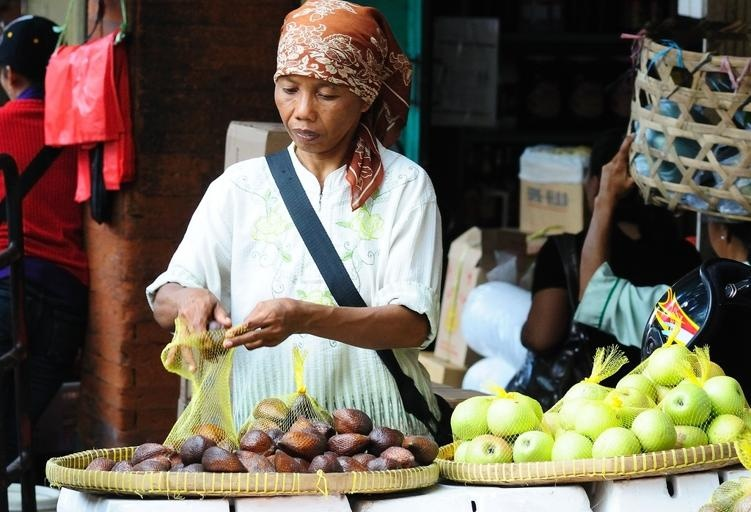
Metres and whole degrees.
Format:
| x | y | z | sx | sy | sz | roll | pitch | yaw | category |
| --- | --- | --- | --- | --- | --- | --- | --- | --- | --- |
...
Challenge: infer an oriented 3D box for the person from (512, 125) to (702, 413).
| x | y | z | sx | sy | sz | roll | pitch | yaw | category |
| --- | --- | --- | --- | --- | --- | --- | --- | --- | --- |
| 1.021 | -0.093 | 4.870 | 1.022 | 1.537 | 0.811 | -6 | 18 | -19 | person |

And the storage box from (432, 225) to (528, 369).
| x | y | z | sx | sy | sz | roll | pitch | yaw | category |
| --- | --- | --- | --- | --- | --- | --- | --- | --- | --- |
| 0.604 | 0.176 | 5.304 | 0.404 | 0.870 | 0.427 | -7 | 13 | -17 | storage box |

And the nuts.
| x | y | z | sx | sy | sz | roll | pitch | yaw | category |
| --- | --- | --- | --- | --- | --- | --- | --- | --- | --- |
| -0.312 | 0.575 | 2.881 | 1.009 | 0.152 | 0.415 | 0 | 7 | 0 | nuts |
